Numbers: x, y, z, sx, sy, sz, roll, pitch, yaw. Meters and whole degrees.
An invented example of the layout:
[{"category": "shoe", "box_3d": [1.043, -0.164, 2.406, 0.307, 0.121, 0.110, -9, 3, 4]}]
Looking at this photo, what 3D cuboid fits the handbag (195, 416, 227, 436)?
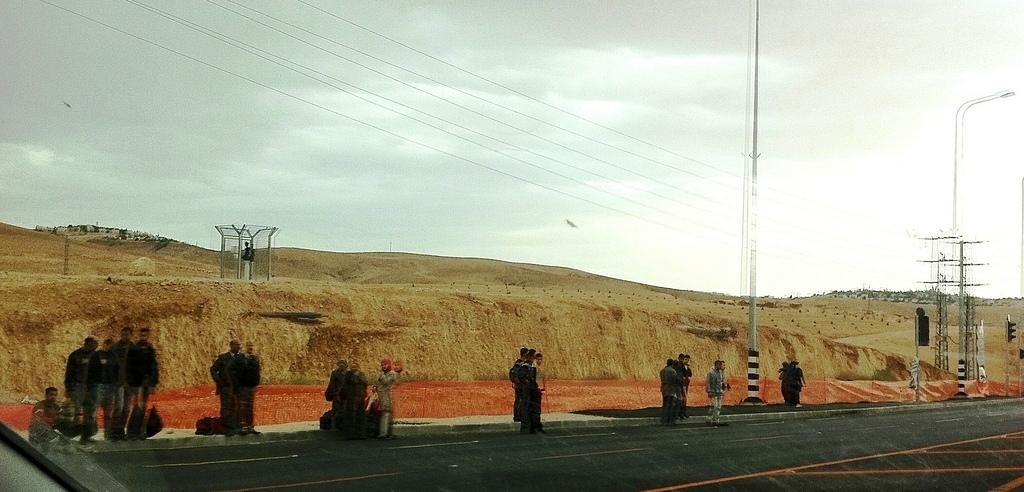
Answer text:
[{"category": "handbag", "box_3d": [-19.870, 11.872, 68.996, 1.762, 1.148, 0.464, 2, -7, -16]}]
